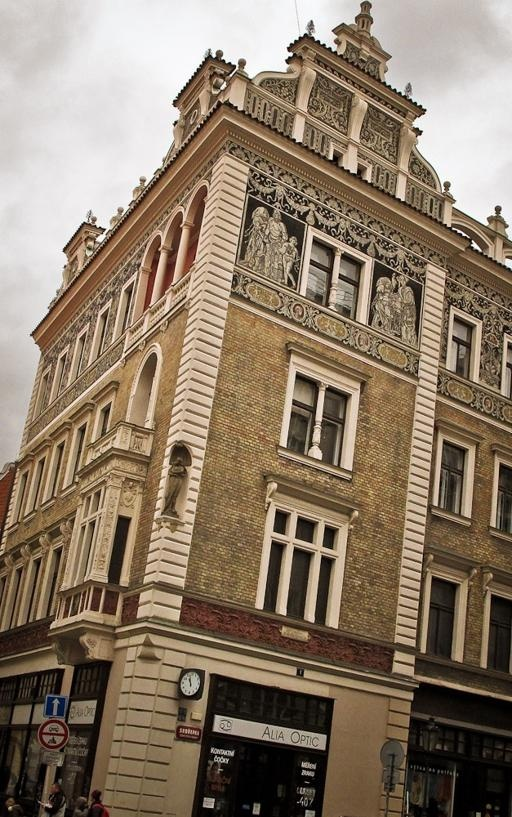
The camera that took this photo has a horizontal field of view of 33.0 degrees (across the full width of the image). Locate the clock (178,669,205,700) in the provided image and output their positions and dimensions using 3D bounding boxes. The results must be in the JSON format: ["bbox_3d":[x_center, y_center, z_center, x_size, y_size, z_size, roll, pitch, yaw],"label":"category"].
[{"bbox_3d":[-1.208,5.037,15.833,0.429,0.470,0.231,19,-28,-30],"label":"clock"}]

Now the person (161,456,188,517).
[{"bbox_3d":[-1.605,1.550,16.987,0.385,1.298,0.284,17,-26,-14],"label":"person"}]
